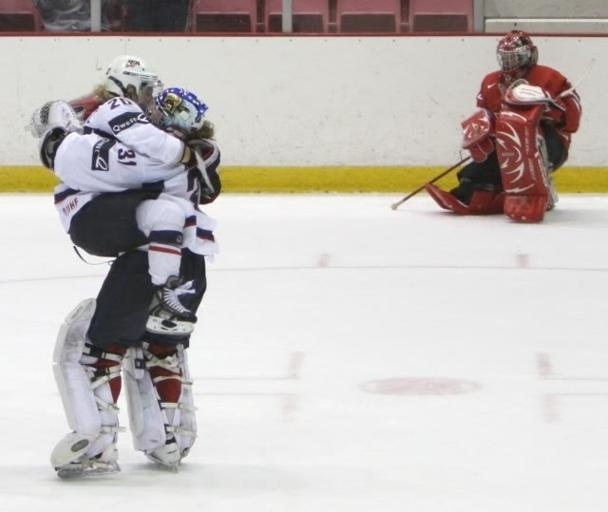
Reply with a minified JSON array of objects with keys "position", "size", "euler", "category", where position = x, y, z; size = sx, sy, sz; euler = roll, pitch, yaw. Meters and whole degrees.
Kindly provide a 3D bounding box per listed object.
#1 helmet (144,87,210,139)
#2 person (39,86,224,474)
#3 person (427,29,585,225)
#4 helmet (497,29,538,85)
[{"position":[-0.524,-0.537,4.003],"size":[0.259,0.166,0.187],"euler":[19,-13,-18],"category":"helmet"},{"position":[-0.663,0.066,3.962],"size":[0.684,1.401,0.736],"euler":[2,16,-12],"category":"person"},{"position":[1.580,-1.058,8.255],"size":[1.530,1.331,1.174],"euler":[-8,17,10],"category":"person"},{"position":[1.639,-1.583,8.083],"size":[0.390,0.339,0.394],"euler":[-3,18,5],"category":"helmet"}]
